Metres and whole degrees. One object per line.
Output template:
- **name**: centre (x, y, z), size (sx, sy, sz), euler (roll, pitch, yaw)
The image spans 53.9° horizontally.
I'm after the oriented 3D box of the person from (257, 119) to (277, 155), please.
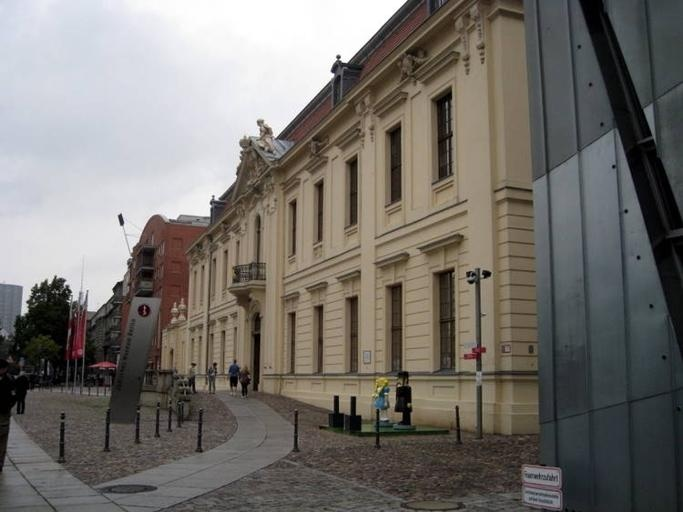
- **person**: centre (-4.211, -6.795, 38.430), size (0.964, 2.689, 1.583), euler (4, -17, -11)
